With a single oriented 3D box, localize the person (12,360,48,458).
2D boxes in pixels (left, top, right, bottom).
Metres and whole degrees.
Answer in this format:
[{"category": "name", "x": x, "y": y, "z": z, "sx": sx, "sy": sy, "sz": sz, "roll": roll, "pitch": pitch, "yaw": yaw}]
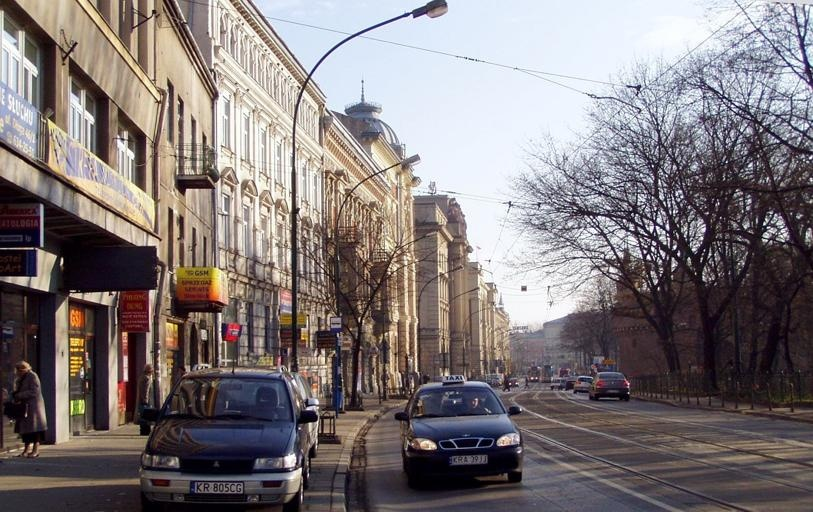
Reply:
[{"category": "person", "x": -9.889, "y": 4.067, "z": 25.624, "sx": 0.789, "sy": 2.423, "sz": 0.972, "roll": 1, "pitch": -15, "yaw": -19}]
